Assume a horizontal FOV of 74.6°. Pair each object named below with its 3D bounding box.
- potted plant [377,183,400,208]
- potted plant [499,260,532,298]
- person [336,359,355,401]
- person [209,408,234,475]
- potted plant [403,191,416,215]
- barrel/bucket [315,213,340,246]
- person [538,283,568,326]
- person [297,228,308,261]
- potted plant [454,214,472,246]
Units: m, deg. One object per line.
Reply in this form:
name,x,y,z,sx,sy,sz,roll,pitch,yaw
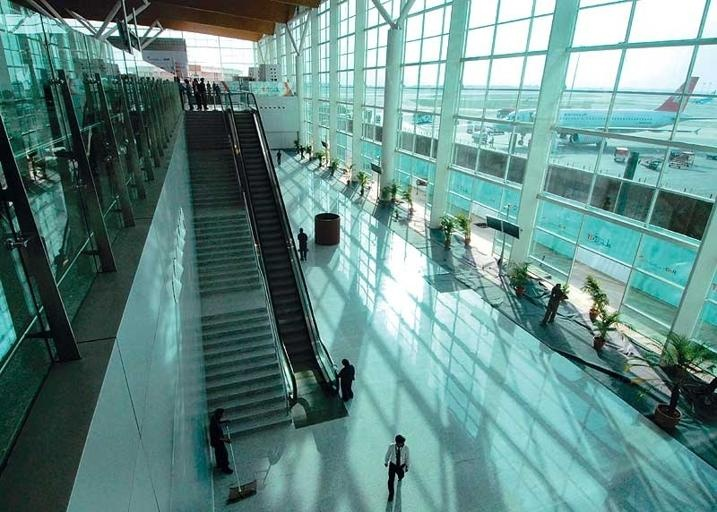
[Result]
potted plant,1.780,-3.336,25.369,1.236,1.313,1.209,-3,26,-5
potted plant,5.397,0.688,16.121,1.064,1.155,1.171,-3,23,5
person,-0.291,2.830,11.096,0.395,1.048,0.601,0,25,-2
person,-2.731,3.668,9.315,0.344,1.385,0.652,-8,26,-19
potted plant,2.590,-2.862,23.951,0.599,1.219,1.691,4,25,6
barrel/bucket,-1.333,-1.133,19.940,1.152,1.214,1.285,2,20,-6
person,6.004,1.283,14.225,0.498,1.277,1.389,14,27,24
person,-2.106,-0.485,17.941,0.297,1.273,0.522,-3,25,-10
potted plant,4.549,-1.276,20.122,0.689,1.348,1.486,8,25,13
